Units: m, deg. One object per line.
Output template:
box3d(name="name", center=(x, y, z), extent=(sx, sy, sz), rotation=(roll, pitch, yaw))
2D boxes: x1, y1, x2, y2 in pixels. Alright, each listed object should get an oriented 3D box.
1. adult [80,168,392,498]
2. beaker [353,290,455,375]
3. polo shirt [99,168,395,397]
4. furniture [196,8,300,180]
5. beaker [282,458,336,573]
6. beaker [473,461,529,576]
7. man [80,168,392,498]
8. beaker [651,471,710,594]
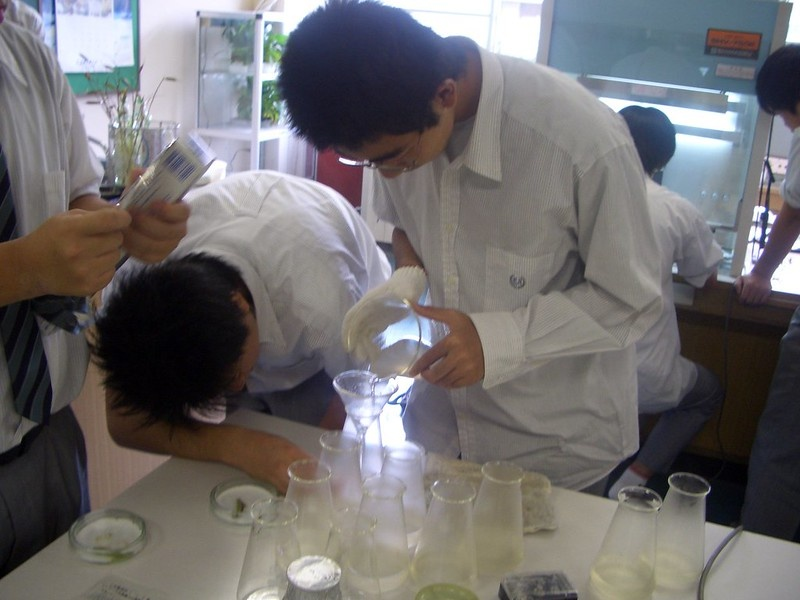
box3d(name="adult", center=(-0.423, 0.082, 1.693), extent=(0.467, 0.705, 1.059), rotation=(21, 17, 13))
box3d(name="beaker", center=(0.000, 0.085, 1.664), extent=(0.192, 0.212, 0.216), rotation=(34, 25, 11))
box3d(name="polo shirt", center=(-0.392, -0.019, 2.331), extent=(1.045, 0.647, 0.819), rotation=(8, -18, 30))
box3d(name="furniture", center=(-1.507, -1.621, 5.617), extent=(0.578, 1.373, 0.477), rotation=(-8, 30, -24))
box3d(name="beaker", center=(-0.161, 0.444, 1.310), extent=(0.140, 0.222, 0.151), rotation=(1, 11, 0))
box3d(name="beaker", center=(0.209, 0.476, 1.359), extent=(0.107, 0.248, 0.071), rotation=(4, 17, 9))
box3d(name="man", center=(-0.423, 0.082, 1.693), extent=(0.467, 0.705, 1.059), rotation=(21, 17, 13))
box3d(name="beaker", center=(0.601, 0.508, 1.361), extent=(0.097, 0.245, 0.106), rotation=(13, 21, 35))
